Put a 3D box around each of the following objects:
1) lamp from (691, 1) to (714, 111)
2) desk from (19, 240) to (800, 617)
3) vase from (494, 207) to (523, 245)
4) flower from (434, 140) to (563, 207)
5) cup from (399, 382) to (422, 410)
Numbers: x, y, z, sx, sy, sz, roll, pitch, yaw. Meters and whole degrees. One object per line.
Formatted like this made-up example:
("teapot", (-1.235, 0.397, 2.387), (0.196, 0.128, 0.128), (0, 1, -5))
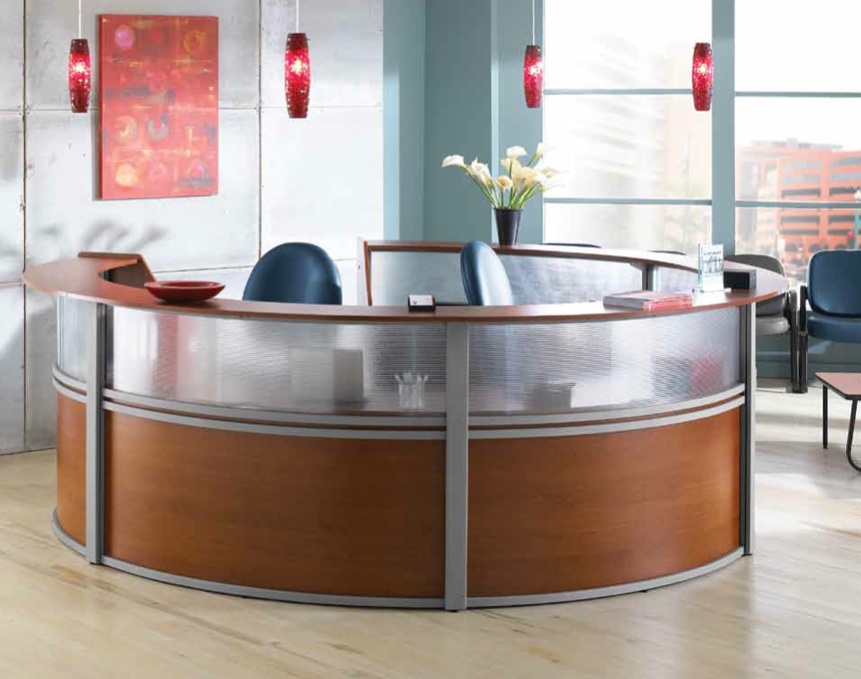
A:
("lamp", (1.672, -1.616, 4.951), (0.140, 0.428, 0.565), (7, 14, 16))
("desk", (-0.065, 0.456, 3.402), (2.844, 1.235, 0.818), (5, 14, 8))
("vase", (0.496, -0.754, 5.389), (0.221, 0.210, 0.220), (0, 0, -4))
("flower", (0.484, -1.347, 6.495), (0.854, 0.471, 0.912), (-2, 4, -11))
("cup", (-0.078, 0.216, 3.108), (0.094, 0.088, 0.093), (1, 9, 0))
